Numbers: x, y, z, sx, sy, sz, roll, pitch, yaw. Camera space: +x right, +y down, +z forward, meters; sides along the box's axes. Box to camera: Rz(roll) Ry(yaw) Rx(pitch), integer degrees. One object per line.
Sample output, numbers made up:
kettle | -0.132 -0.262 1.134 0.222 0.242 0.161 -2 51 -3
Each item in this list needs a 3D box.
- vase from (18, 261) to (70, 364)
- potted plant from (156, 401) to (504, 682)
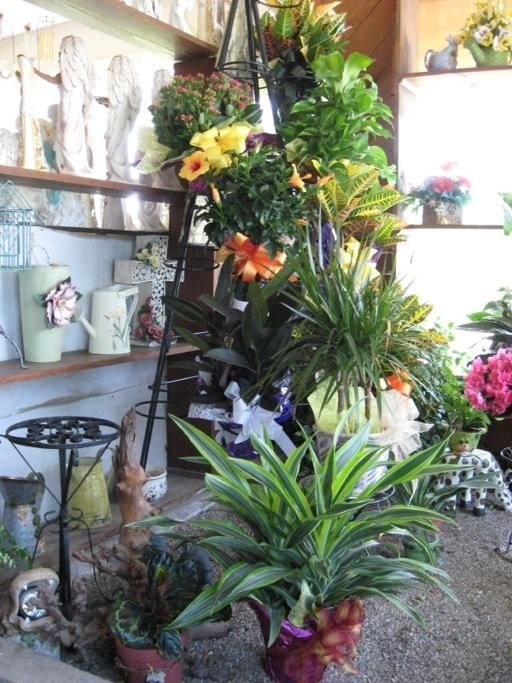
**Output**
vase | -0.680 -0.087 1.753 0.171 0.303 0.130 5 12 -5
potted plant | 0.140 0.324 1.209 0.668 0.498 0.620 3 4 10
